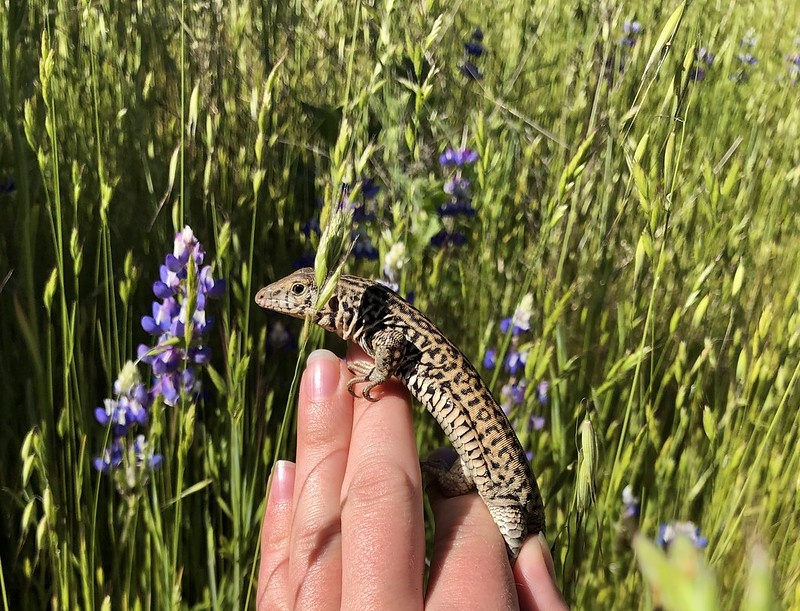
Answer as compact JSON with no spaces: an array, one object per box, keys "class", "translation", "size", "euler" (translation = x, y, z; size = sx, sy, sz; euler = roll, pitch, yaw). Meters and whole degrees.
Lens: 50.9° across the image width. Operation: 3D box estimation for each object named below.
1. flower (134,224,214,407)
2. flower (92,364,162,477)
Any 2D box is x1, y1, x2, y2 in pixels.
[{"class":"flower","translation":[-1.037,0.074,3.936],"size":[0.362,0.833,0.578],"euler":[-1,17,-20]},{"class":"flower","translation":[-1.287,0.559,3.993],"size":[0.264,0.687,0.278],"euler":[11,13,11]}]
